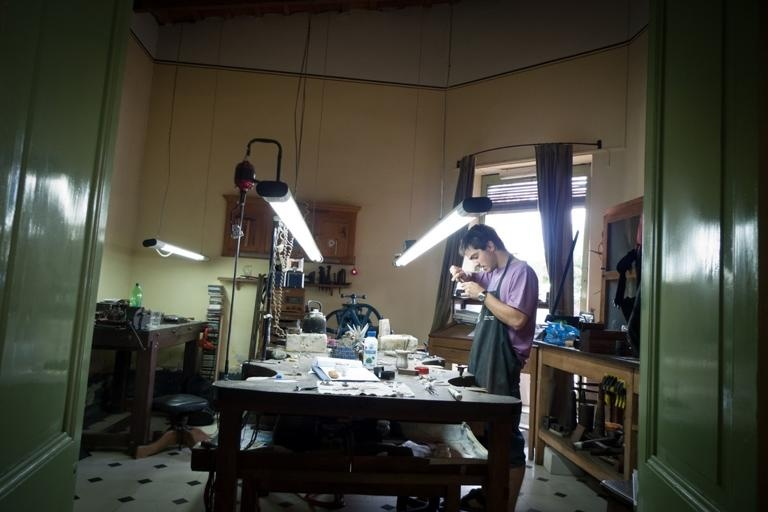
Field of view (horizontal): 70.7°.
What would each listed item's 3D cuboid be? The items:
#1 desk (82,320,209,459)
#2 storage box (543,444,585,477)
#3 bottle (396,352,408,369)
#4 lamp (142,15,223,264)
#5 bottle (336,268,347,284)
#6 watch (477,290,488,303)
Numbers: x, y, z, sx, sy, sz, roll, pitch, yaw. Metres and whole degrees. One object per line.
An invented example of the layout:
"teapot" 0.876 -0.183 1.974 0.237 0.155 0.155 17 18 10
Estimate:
"desk" -2.390 1.171 5.038 0.905 1.013 1.564 3 -8 -4
"storage box" 1.473 1.663 4.417 0.205 0.132 0.201 2 -4 4
"bottle" 0.130 0.720 3.747 0.086 0.109 0.088 0 -1 0
"lamp" -2.205 -1.501 6.108 0.700 3.005 2.221 5 -5 -22
"bottle" -0.540 0.254 6.922 0.141 0.218 0.162 3 -5 -4
"watch" 0.655 0.261 3.543 0.049 0.074 0.068 7 -5 38
